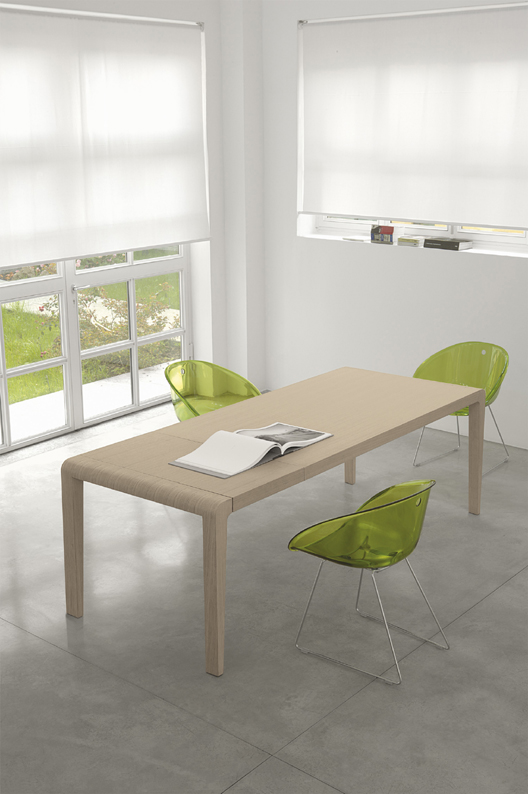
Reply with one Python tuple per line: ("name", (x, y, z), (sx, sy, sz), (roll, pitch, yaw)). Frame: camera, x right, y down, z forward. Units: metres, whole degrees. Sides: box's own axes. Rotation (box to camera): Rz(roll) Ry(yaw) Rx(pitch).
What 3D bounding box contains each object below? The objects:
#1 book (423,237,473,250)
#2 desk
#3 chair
("book", (1.299, -1.087, 4.806), (0.331, 0.107, 0.146), (2, 8, 14))
("desk", (0.119, 0.408, 2.942), (0.879, 0.840, 1.858), (7, 10, 42))
("chair", (0.453, 0.172, 4.293), (2.722, 0.970, 0.853), (-17, 24, -41))
